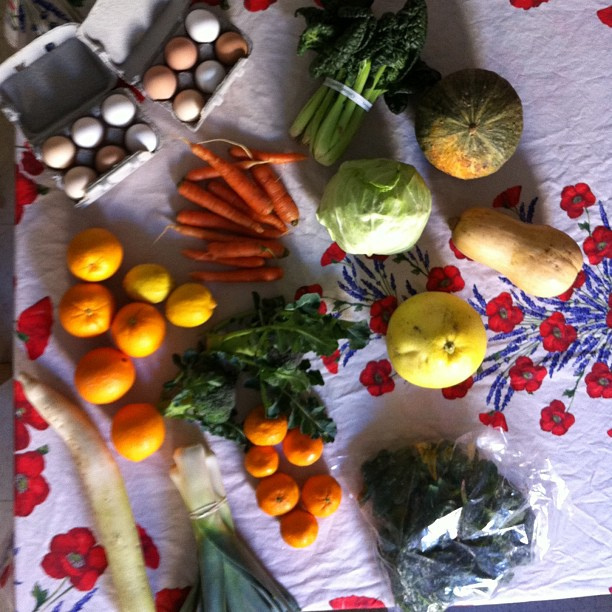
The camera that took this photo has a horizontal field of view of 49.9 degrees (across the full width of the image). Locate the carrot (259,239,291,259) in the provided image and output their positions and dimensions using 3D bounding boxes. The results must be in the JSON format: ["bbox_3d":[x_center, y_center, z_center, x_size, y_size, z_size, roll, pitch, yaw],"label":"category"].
[{"bbox_3d":[-0.072,-0.141,1.632,0.083,0.025,0.031,-1,89,-34],"label":"carrot"}]

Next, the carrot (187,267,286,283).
[{"bbox_3d":[-0.178,-0.076,1.619,0.250,0.041,0.035,1,90,0],"label":"carrot"}]

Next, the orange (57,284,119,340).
[{"bbox_3d":[-0.528,0.038,1.529,0.130,0.107,0.086,15,111,-18],"label":"orange"}]

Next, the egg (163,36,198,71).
[{"bbox_3d":[-0.287,-0.577,1.506,0.098,0.048,0.066,-6,94,-3],"label":"egg"}]

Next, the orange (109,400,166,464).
[{"bbox_3d":[-0.381,0.283,1.492,0.154,0.086,0.128,-2,82,-9],"label":"orange"}]

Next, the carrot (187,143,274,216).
[{"bbox_3d":[-0.188,-0.312,1.615,0.264,0.050,0.049,34,37,-2],"label":"carrot"}]

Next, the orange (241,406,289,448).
[{"bbox_3d":[-0.099,0.277,1.567,0.131,0.105,0.103,6,94,-6],"label":"orange"}]

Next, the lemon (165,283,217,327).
[{"bbox_3d":[-0.276,-0.002,1.554,0.125,0.130,0.090,4,108,-4],"label":"lemon"}]

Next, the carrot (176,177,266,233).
[{"bbox_3d":[-0.215,-0.249,1.621,0.273,0.047,0.048,22,73,-8],"label":"carrot"}]

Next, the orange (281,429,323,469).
[{"bbox_3d":[-0.011,0.336,1.554,0.120,0.054,0.085,-4,80,5],"label":"orange"}]

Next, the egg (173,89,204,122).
[{"bbox_3d":[-0.277,-0.462,1.512,0.087,0.071,0.072,0,110,-12],"label":"egg"}]

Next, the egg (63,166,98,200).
[{"bbox_3d":[-0.499,-0.285,1.533,0.093,0.076,0.079,3,113,-9],"label":"egg"}]

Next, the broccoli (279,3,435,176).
[{"bbox_3d":[0.106,-0.534,1.635,0.376,0.145,0.415,20,109,5],"label":"broccoli"}]

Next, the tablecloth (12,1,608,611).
[{"bbox_3d":[-0.063,0.008,2.332,2.124,0.419,1.356,-5,87,-4],"label":"tablecloth"}]

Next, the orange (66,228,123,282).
[{"bbox_3d":[-0.492,-0.119,1.541,0.153,0.122,0.119,-3,87,11],"label":"orange"}]

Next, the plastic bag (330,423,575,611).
[{"bbox_3d":[0.323,0.500,1.759,0.832,0.235,0.403,-12,89,-7],"label":"plastic bag"}]

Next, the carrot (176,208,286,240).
[{"bbox_3d":[-0.191,-0.204,1.627,0.309,0.049,0.032,7,100,-8],"label":"carrot"}]

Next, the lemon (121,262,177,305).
[{"bbox_3d":[-0.389,-0.050,1.561,0.162,0.114,0.091,-3,78,-23],"label":"lemon"}]

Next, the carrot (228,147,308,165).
[{"bbox_3d":[-0.096,-0.366,1.617,0.240,0.052,0.028,2,109,1],"label":"carrot"}]

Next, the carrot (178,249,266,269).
[{"bbox_3d":[-0.209,-0.117,1.619,0.208,0.034,0.030,6,89,0],"label":"carrot"}]

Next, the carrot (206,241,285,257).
[{"bbox_3d":[-0.155,-0.137,1.609,0.264,0.053,0.043,0,93,-3],"label":"carrot"}]

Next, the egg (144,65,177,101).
[{"bbox_3d":[-0.334,-0.510,1.505,0.096,0.075,0.080,-1,56,-8],"label":"egg"}]

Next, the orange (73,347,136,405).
[{"bbox_3d":[-0.459,0.159,1.540,0.154,0.175,0.108,13,78,-37],"label":"orange"}]

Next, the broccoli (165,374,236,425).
[{"bbox_3d":[-0.215,0.221,1.530,0.168,0.076,0.102,-21,70,-1],"label":"broccoli"}]

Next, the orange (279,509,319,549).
[{"bbox_3d":[-0.020,0.537,1.576,0.116,0.048,0.080,-3,83,0],"label":"orange"}]

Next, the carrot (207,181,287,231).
[{"bbox_3d":[-0.146,-0.247,1.620,0.217,0.037,0.037,25,42,1],"label":"carrot"}]

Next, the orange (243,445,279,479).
[{"bbox_3d":[-0.106,0.369,1.553,0.101,0.041,0.068,-8,77,0],"label":"orange"}]

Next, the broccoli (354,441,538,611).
[{"bbox_3d":[0.325,0.506,1.532,0.504,0.151,0.343,-9,86,1],"label":"broccoli"}]
